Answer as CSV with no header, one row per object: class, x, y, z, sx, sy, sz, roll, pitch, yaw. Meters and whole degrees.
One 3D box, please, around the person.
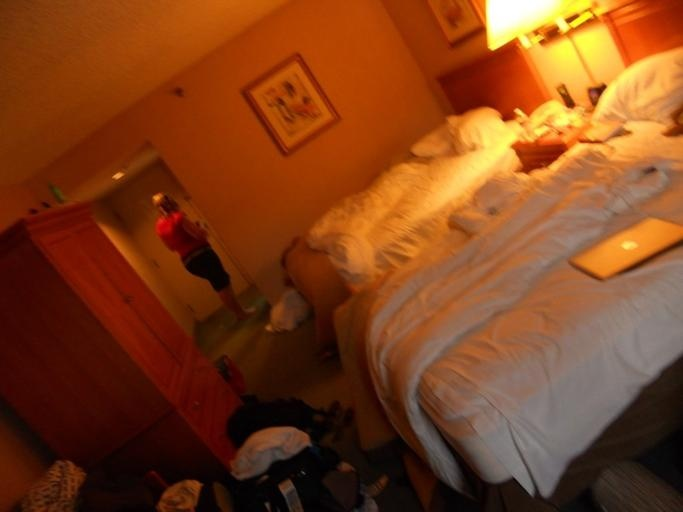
person,-1.326,0.062,5.139,0.363,1.260,0.321,-34,17,-9
